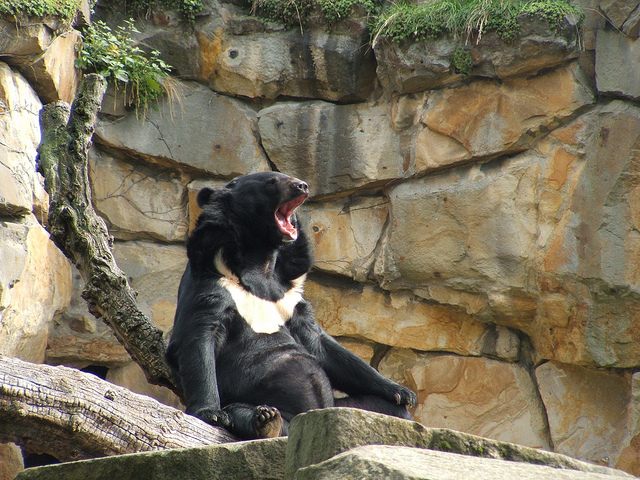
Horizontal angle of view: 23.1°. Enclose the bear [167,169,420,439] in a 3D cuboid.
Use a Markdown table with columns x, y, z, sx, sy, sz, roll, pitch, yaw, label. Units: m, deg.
| x | y | z | sx | sy | sz | roll | pitch | yaw | label |
| --- | --- | --- | --- | --- | --- | --- | --- | --- | --- |
| -0.471 | 0.652 | 13.523 | 1.957 | 2.675 | 1.529 | -2 | -7 | -39 | bear |
